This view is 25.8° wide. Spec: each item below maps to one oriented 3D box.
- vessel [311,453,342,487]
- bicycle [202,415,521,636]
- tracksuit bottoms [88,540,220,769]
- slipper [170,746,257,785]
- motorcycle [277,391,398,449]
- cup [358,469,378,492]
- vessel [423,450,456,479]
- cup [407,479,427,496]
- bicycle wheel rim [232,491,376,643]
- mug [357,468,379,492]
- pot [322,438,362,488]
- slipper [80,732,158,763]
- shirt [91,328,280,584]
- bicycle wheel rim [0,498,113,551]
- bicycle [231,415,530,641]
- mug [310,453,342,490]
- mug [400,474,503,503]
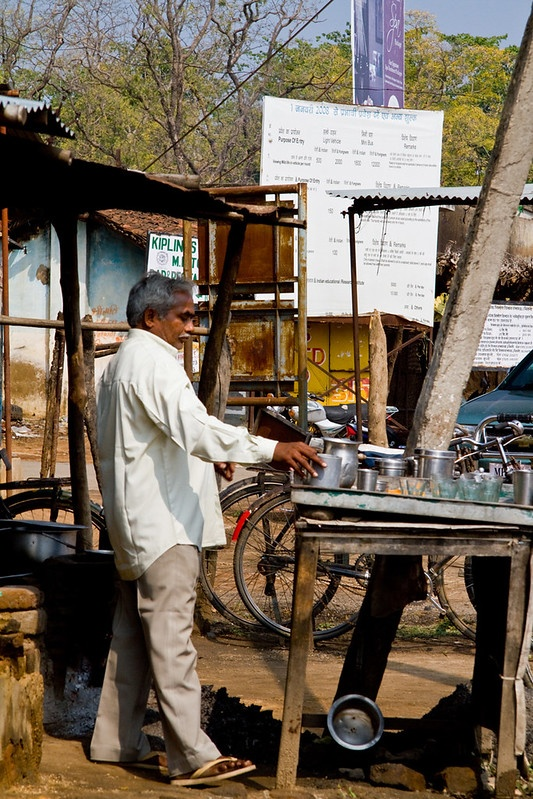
[{"bbox_3d":[0.245,0.284,4.534,0.120,0.129,0.120,2,-2,-1],"label":"vessel"},{"bbox_3d":[0.581,0.881,7.174,2.059,1.244,1.014,4,-3,-2],"label":"bicycle"},{"bbox_3d":[-0.413,1.036,4.658,0.648,0.919,0.300,7,8,29],"label":"tracksuit bottoms"},{"bbox_3d":[-0.203,1.432,4.516,0.325,0.098,0.127,-11,-4,3],"label":"slipper"},{"bbox_3d":[0.707,0.311,13.176,1.281,0.745,0.649,8,8,12],"label":"motorcycle"},{"bbox_3d":[0.397,0.325,4.546,0.081,0.080,0.081,1,-2,0],"label":"cup"},{"bbox_3d":[0.718,0.275,4.764,0.114,0.118,0.115,2,-4,-2],"label":"vessel"},{"bbox_3d":[0.606,0.356,4.614,0.070,0.057,0.065,1,-1,0],"label":"cup"},{"bbox_3d":[0.181,0.856,5.857,0.994,0.993,0.198,-2,4,-7],"label":"bicycle wheel rim"},{"bbox_3d":[0.398,0.322,4.531,0.080,0.081,0.081,1,-2,-4],"label":"mug"},{"bbox_3d":[0.314,0.251,4.571,0.169,0.220,0.173,1,-5,0],"label":"pot"},{"bbox_3d":[-0.573,1.440,4.797,0.354,0.148,0.118,4,-5,-21],"label":"slipper"},{"bbox_3d":[-0.390,0.228,4.905,0.594,1.007,1.148,1,-5,-20],"label":"shirt"},{"bbox_3d":[-1.043,0.627,5.795,0.456,0.112,0.438,5,-3,6],"label":"bicycle wheel rim"},{"bbox_3d":[0.692,0.870,7.130,2.051,1.259,1.022,4,-1,0],"label":"bicycle"},{"bbox_3d":[0.208,0.280,4.491,0.121,0.130,0.120,3,-1,-31],"label":"mug"},{"bbox_3d":[0.748,0.354,4.576,0.174,0.087,0.239,2,-9,-2],"label":"mug"}]
